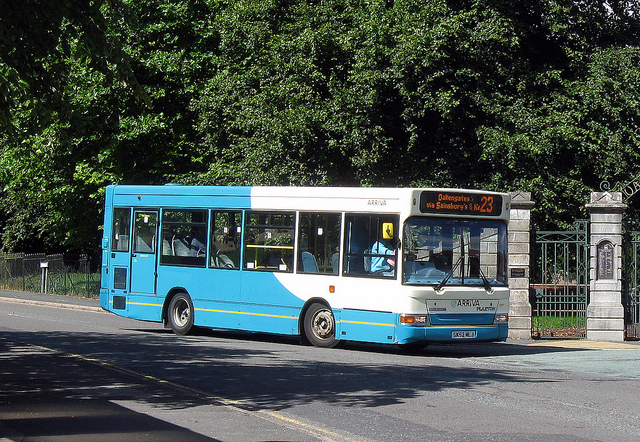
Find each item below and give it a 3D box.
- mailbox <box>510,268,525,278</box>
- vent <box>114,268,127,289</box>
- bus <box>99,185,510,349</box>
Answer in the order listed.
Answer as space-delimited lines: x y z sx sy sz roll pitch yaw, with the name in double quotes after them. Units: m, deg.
5.498 1.446 20.424 0.251 0.165 0.253 1 0 -7 "mailbox"
-5.664 1.668 21.019 0.538 0.808 0.084 -2 -9 36 "vent"
-1.055 1.162 20.930 11.675 4.092 3.910 1 -3 39 "bus"
